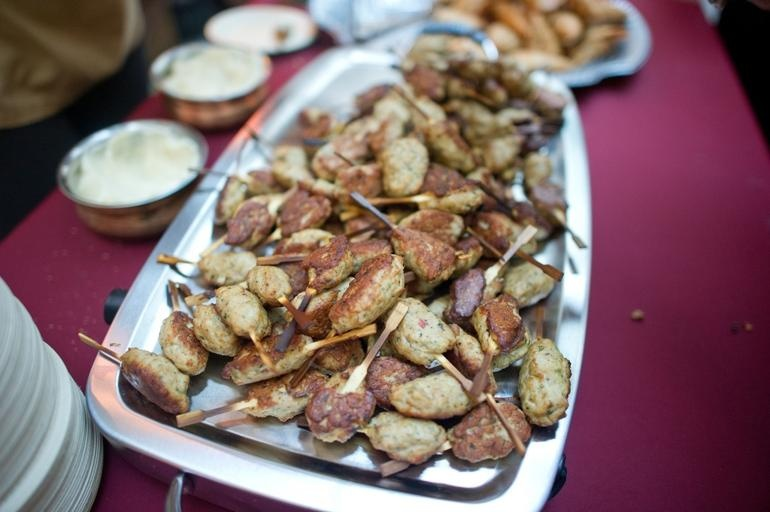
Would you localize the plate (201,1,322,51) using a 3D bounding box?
[{"bbox_3d":[-0.263,-0.492,1.421,0.145,0.022,0.153,-9,48,-14],"label":"plate"}]

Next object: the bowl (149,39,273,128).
[{"bbox_3d":[-0.398,-0.411,1.586,0.286,0.243,0.105,-8,71,0],"label":"bowl"}]
